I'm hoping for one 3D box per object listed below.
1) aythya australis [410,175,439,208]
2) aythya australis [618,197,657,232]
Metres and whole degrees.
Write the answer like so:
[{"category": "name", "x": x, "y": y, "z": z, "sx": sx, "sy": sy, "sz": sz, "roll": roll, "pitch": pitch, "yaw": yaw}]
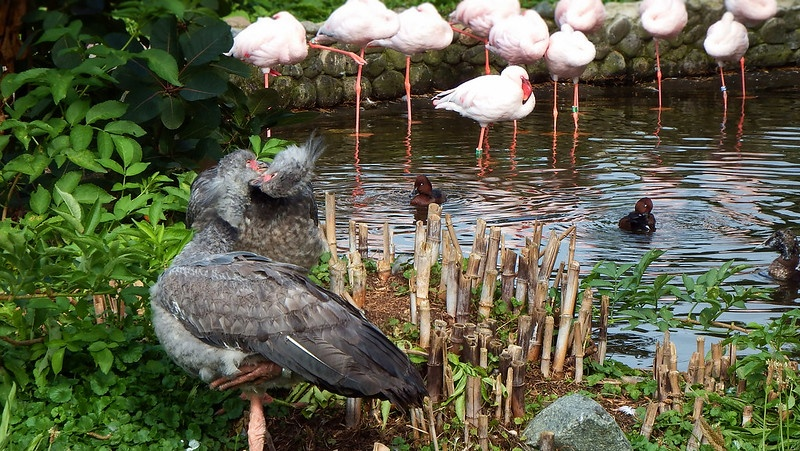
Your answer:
[{"category": "aythya australis", "x": 0.289, "y": -0.422, "z": 10.140, "sx": 0.314, "sy": 0.312, "sz": 0.479, "roll": 1, "pitch": 11, "yaw": 18}, {"category": "aythya australis", "x": 2.793, "y": -0.108, "z": 9.388, "sx": 0.458, "sy": 0.414, "sz": 0.278, "roll": 11, "pitch": 17, "yaw": 43}]
